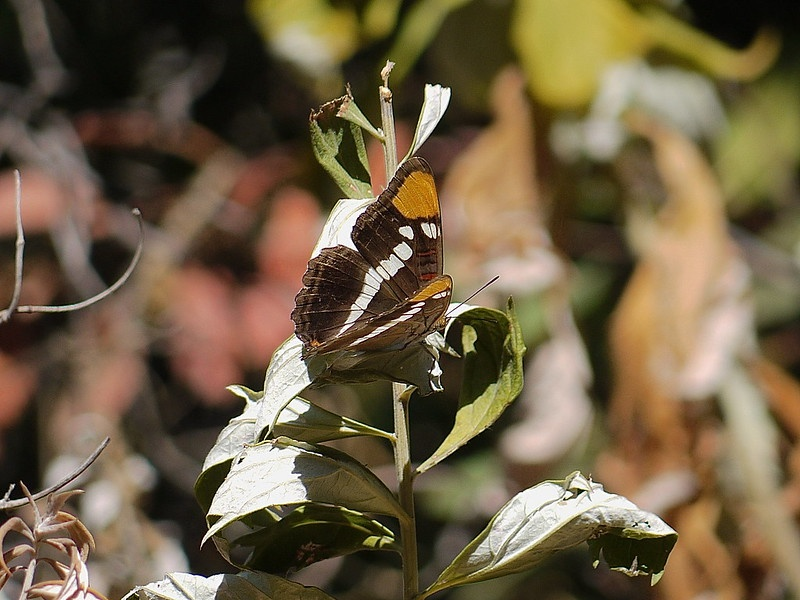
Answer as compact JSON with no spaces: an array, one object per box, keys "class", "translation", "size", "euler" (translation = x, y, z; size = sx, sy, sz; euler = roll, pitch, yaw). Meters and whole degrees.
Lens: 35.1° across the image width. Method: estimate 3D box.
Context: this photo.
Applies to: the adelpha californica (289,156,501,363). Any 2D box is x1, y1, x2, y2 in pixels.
[{"class":"adelpha californica","translation":[-0.007,-0.058,1.704],"size":[0.251,0.301,0.254],"euler":[9,88,6]}]
